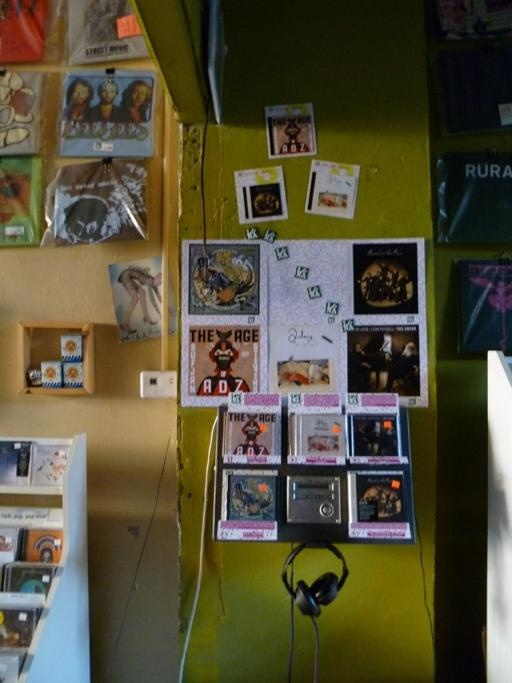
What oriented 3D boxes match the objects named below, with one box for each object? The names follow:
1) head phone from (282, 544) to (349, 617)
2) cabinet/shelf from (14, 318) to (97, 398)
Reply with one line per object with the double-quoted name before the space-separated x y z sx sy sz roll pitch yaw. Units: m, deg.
"head phone" 0.211 0.715 1.782 0.134 0.181 0.210 -12 75 15
"cabinet/shelf" -0.788 0.076 2.351 0.288 0.208 0.272 -1 67 4
